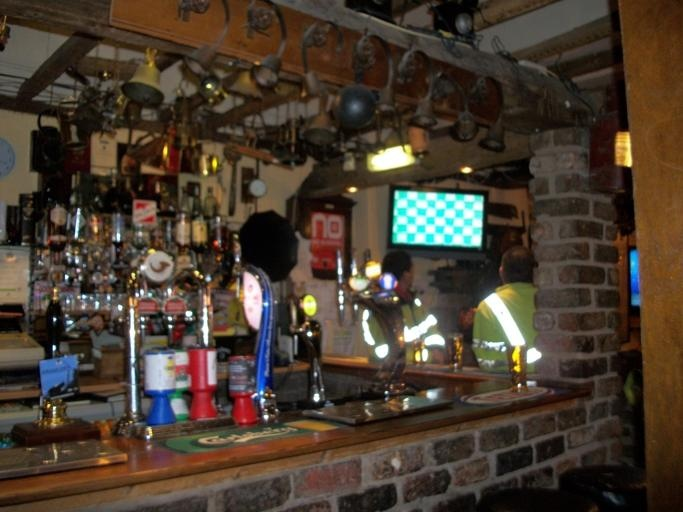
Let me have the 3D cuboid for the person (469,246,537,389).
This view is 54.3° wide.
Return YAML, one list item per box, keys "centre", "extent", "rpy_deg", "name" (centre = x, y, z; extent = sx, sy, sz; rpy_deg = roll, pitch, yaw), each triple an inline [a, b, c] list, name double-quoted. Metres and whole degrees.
- centre: [1.084, 0.335, 4.481]
  extent: [0.459, 0.882, 1.104]
  rpy_deg: [-3, -4, 15]
  name: "person"

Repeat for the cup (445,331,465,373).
- centre: [0.772, 0.645, 4.527]
  extent: [0.093, 0.244, 0.187]
  rpy_deg: [-2, -4, 8]
  name: "cup"

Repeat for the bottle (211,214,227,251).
- centre: [-1.241, -0.232, 6.676]
  extent: [0.125, 0.341, 0.316]
  rpy_deg: [-1, -4, -13]
  name: "bottle"

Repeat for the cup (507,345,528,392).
- centre: [0.988, 0.621, 3.743]
  extent: [0.099, 0.246, 0.161]
  rpy_deg: [-3, -4, 14]
  name: "cup"

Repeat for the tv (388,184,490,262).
- centre: [1.040, -0.369, 7.309]
  extent: [0.875, 0.649, 0.091]
  rpy_deg: [2, -4, -1]
  name: "tv"
